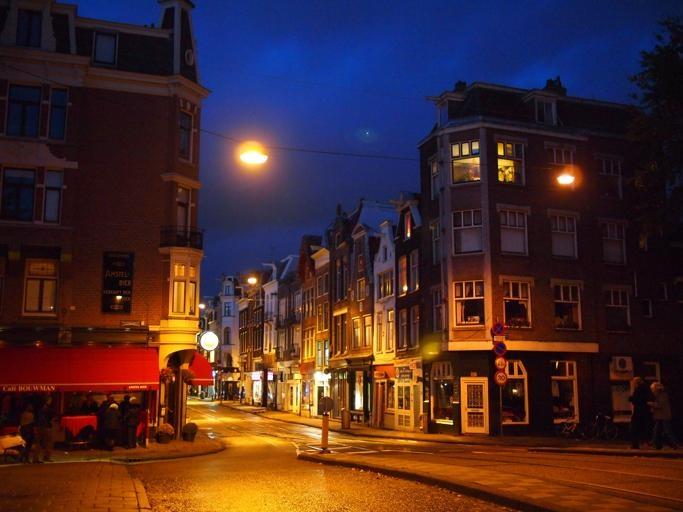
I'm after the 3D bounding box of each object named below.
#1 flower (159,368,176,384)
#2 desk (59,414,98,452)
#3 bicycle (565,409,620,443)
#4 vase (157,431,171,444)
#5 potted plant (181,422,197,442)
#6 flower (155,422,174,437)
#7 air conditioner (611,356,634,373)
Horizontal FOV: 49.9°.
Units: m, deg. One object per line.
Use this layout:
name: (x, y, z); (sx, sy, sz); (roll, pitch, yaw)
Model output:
flower: (-8.098, 5.578, 34.135); (0.640, 0.755, 0.672); (-10, -15, 36)
desk: (-10.814, 7.285, 30.307); (1.423, 1.489, 1.558); (6, -14, -19)
bicycle: (12.537, 8.667, 36.928); (1.416, 1.260, 2.833); (9, -17, -29)
vase: (-7.829, 8.060, 32.423); (0.409, 0.329, 0.454); (-4, -15, 18)
potted plant: (-6.979, 8.149, 33.835); (0.600, 0.745, 0.755); (3, -16, -5)
flower: (-7.769, 7.761, 32.758); (0.680, 0.693, 0.573); (-9, -12, 33)
air conditioner: (15.136, 5.832, 39.621); (1.358, 0.886, 0.439); (8, -15, -27)
